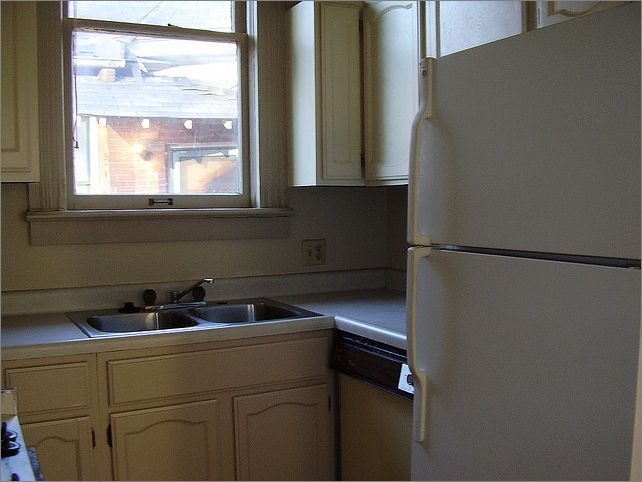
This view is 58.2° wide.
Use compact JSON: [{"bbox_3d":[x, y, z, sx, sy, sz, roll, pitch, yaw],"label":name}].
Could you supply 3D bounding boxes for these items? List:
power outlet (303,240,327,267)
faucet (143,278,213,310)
[{"bbox_3d":[-0.037,0.063,2.899,0.130,0.127,0.046,-1,0,-33],"label":"power outlet"},{"bbox_3d":[-0.643,0.234,2.571,0.311,0.121,0.190,-4,6,-14],"label":"faucet"}]
